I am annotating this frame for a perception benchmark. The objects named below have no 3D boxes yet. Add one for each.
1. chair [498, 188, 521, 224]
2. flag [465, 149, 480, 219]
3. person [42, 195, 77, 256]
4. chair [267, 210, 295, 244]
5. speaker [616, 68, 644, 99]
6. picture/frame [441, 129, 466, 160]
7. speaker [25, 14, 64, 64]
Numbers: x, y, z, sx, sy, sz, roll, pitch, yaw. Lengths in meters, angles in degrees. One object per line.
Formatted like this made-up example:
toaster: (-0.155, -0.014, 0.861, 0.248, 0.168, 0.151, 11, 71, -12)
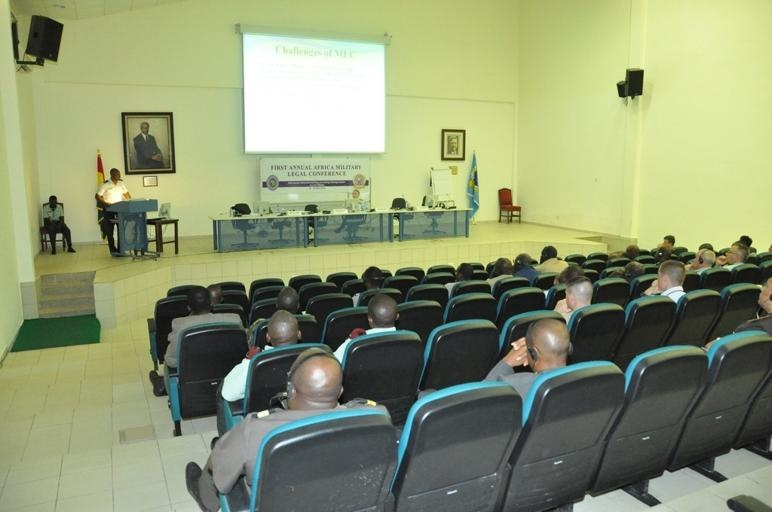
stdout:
chair: (3.562, -1.465, 16.548, 0.615, 0.962, 0.654, -5, 12, -13)
flag: (2.486, -1.975, 16.160, 0.425, 1.854, 0.402, -6, 12, -18)
person: (-6.758, -0.677, 11.882, 0.489, 1.126, 1.062, -9, 13, -30)
chair: (-2.121, -0.586, 11.793, 0.478, 0.574, 0.457, -1, 18, -7)
speaker: (5.437, -3.859, 12.896, 0.270, 0.647, 0.529, -10, 14, -34)
picture/frame: (1.800, -3.101, 15.830, 0.819, 0.889, 0.089, -3, 6, -32)
speaker: (-5.522, -3.533, 9.384, 0.374, 0.622, 0.453, 12, 5, 3)
